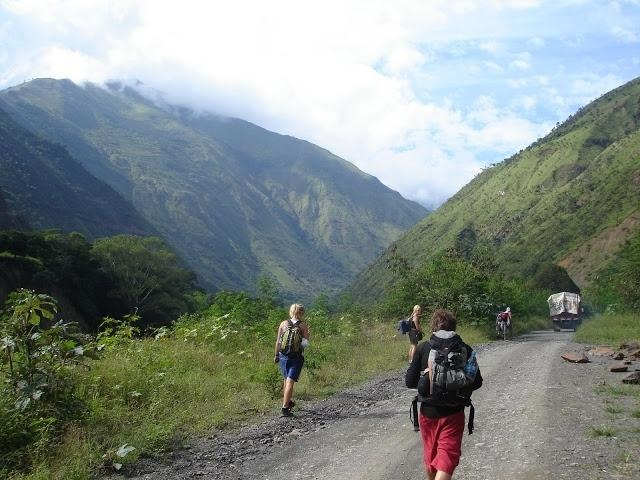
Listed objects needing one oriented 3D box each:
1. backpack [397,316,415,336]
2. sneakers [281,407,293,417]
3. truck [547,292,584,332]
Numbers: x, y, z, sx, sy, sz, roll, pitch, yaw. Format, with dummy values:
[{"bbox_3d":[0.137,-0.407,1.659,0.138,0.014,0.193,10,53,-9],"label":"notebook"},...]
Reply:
[{"bbox_3d":[2.878,2.920,17.773,0.525,0.628,0.408,-1,-1,-3],"label":"backpack"},{"bbox_3d":[-0.825,4.362,13.265,0.291,0.267,0.298,-9,-11,-8],"label":"sneakers"},{"bbox_3d":[24.407,7.175,52.162,3.031,3.296,5.128,-2,-4,19],"label":"truck"}]
